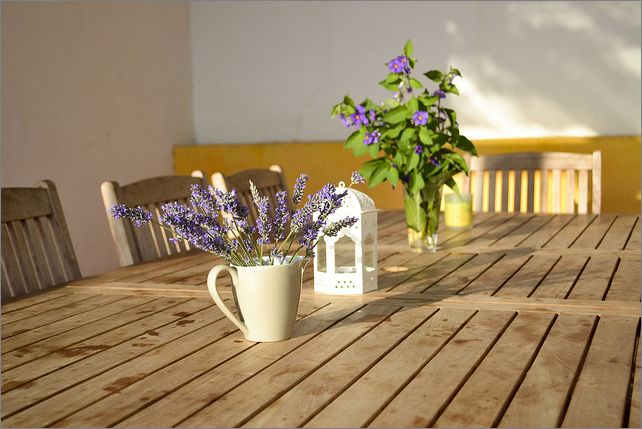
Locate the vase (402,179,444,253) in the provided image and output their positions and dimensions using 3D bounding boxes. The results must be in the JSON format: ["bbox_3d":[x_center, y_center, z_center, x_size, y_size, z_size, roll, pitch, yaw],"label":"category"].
[{"bbox_3d":[0.322,0.009,1.457,0.125,0.209,0.129,-2,2,-29],"label":"vase"}]

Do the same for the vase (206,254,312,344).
[{"bbox_3d":[-0.107,0.153,0.833,0.188,0.144,0.127,-2,1,-30],"label":"vase"}]

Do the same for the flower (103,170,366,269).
[{"bbox_3d":[-0.240,0.014,1.234,0.570,0.241,0.562,-10,-4,42],"label":"flower"}]
